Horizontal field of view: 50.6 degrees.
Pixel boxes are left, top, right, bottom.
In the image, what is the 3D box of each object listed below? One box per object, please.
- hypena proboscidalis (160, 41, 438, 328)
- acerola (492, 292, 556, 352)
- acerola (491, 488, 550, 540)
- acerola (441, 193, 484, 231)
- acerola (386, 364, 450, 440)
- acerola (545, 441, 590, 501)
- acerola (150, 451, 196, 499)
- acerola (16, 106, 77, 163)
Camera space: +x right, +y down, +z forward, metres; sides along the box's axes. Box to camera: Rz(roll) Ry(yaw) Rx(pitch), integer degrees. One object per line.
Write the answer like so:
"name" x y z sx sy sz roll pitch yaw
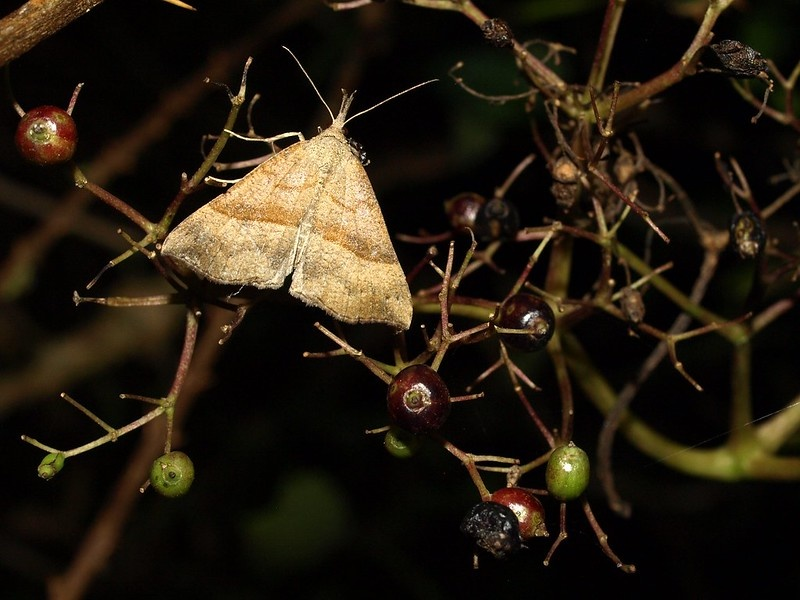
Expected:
"hypena proboscidalis" -0.358 -0.348 3.154 0.867 0.904 0.265 8 -31 -3
"acerola" 0.421 0.075 2.857 0.181 0.151 0.121 -5 -34 17
"acerola" 0.384 0.677 2.889 0.220 0.179 0.169 0 11 -15
"acerola" 0.246 -0.334 3.224 0.128 0.120 0.156 0 9 -7
"acerola" 0.051 0.303 2.722 0.160 0.226 0.224 -3 12 -8
"acerola" 0.548 0.568 2.796 0.140 0.171 0.102 -1 -32 11
"acerola" -0.747 0.579 2.830 0.101 0.051 0.119 -3 -32 16
"acerola" -1.144 -0.528 2.742 0.166 0.190 0.097 14 -2 -7
